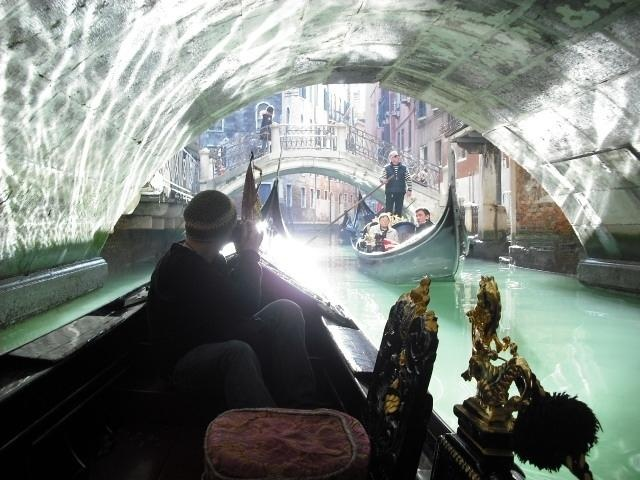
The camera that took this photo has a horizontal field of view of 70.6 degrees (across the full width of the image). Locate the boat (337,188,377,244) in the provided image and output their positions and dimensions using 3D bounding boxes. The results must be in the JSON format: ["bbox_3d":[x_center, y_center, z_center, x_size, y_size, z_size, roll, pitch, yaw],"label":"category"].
[{"bbox_3d":[1.606,-0.822,19.679,1.462,2.185,5.629,3,-11,2],"label":"boat"}]

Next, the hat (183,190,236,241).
[{"bbox_3d":[-0.585,-0.116,2.418,0.232,0.221,0.275,11,36,0],"label":"hat"}]

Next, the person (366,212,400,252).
[{"bbox_3d":[1.485,-0.162,10.589,0.731,0.553,1.669,1,48,3],"label":"person"}]

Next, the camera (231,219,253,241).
[{"bbox_3d":[-0.463,-0.069,2.646,0.074,0.099,0.129,1,-2,-5],"label":"camera"}]
